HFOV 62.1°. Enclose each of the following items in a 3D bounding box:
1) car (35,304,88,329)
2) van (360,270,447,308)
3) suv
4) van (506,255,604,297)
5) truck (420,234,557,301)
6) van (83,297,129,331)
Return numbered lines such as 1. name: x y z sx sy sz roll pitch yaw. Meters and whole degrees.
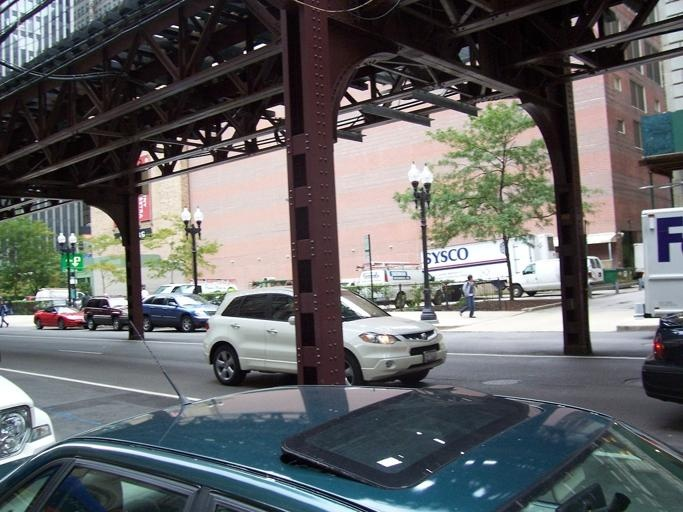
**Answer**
1. car: -18.273 4.000 36.681 5.017 1.498 0.875 -4 2 34
2. van: 3.787 1.989 37.672 5.198 1.738 2.659 -3 1 -27
3. suv: -0.519 1.533 10.827 4.111 1.901 1.854 -5 1 38
4. van: 15.056 1.433 37.002 7.891 2.229 3.543 -1 -2 15
5. truck: 9.782 0.479 39.537 9.555 3.097 4.335 -3 0 30
6. van: -13.482 3.309 32.541 1.455 1.990 4.479 -8 2 -39
